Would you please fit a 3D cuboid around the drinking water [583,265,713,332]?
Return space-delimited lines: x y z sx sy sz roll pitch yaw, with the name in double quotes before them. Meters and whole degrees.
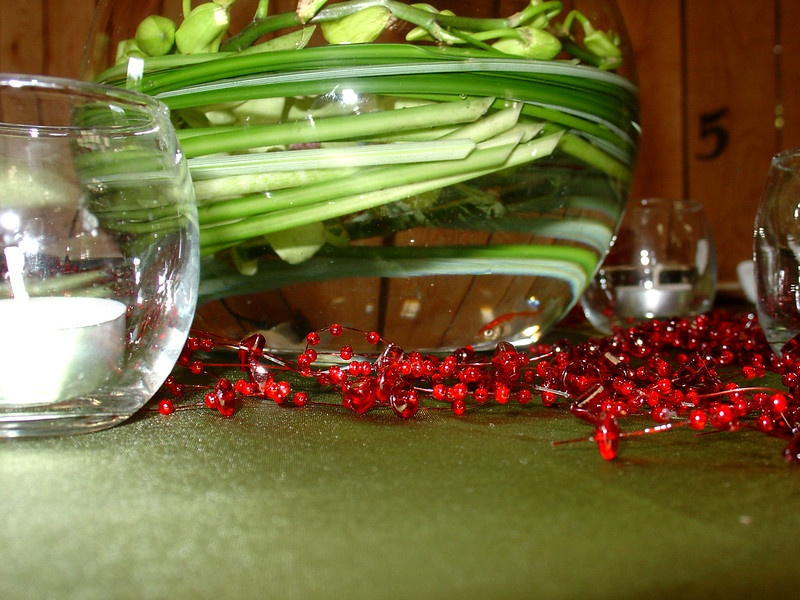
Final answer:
"drinking water" 0.277 -0.001 0.807 0.138 0.066 0.144 -3 -14 22

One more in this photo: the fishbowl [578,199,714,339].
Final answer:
"fishbowl" 0.268 -0.032 0.830 0.153 0.136 0.148 0 -4 10
